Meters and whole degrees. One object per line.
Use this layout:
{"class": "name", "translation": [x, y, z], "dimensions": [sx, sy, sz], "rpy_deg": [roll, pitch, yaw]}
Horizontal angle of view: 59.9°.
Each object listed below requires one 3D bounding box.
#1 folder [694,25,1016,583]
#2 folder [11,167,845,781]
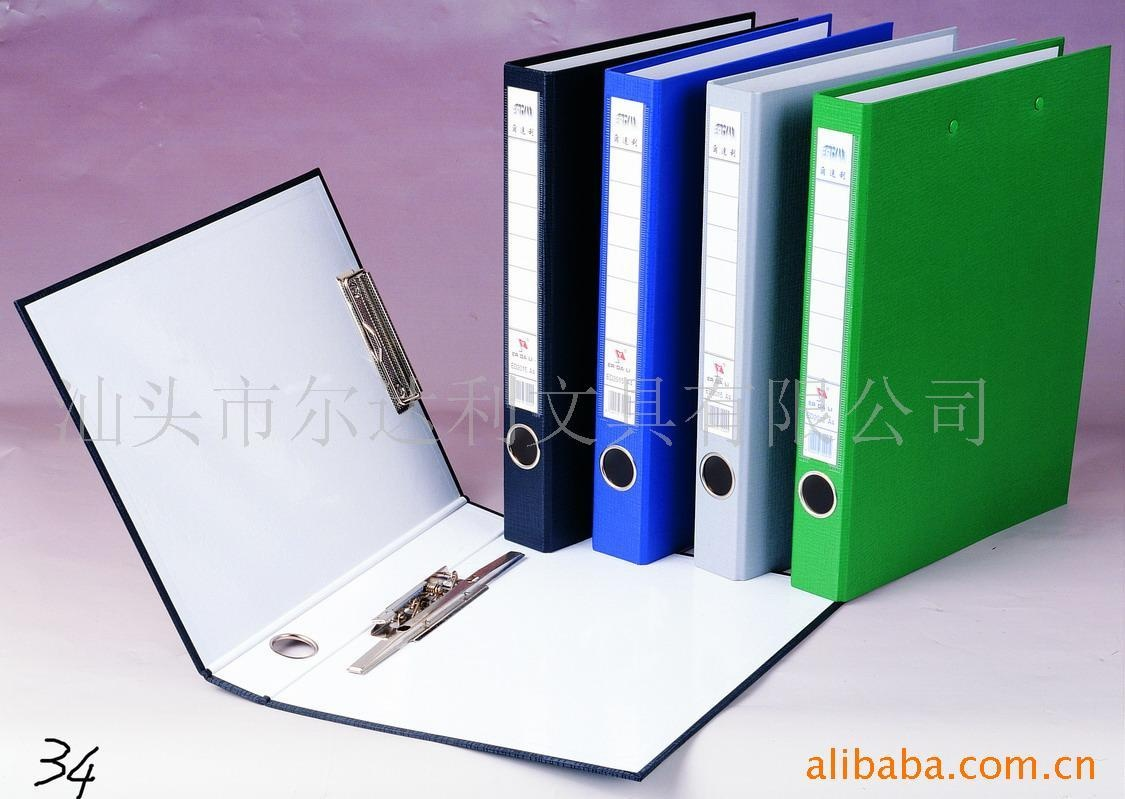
{"class": "folder", "translation": [0.257, -0.090, 0.989], "dimensions": [0.286, 0.518, 0.076], "rpy_deg": [-12, 15, -27]}
{"class": "folder", "translation": [-0.145, 0.054, 0.917], "dimensions": [0.543, 0.331, 0.398], "rpy_deg": [16, 29, 29]}
